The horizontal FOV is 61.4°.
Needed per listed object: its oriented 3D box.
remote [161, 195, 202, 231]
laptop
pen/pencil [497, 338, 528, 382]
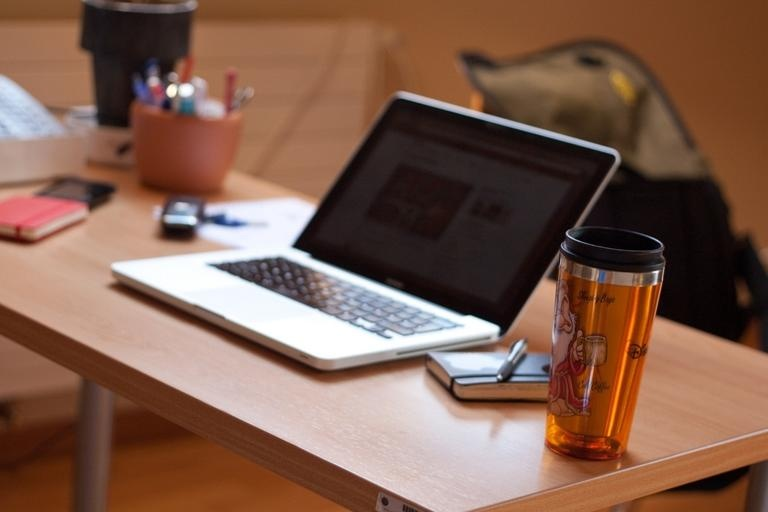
[{"bbox_3d":[-0.335,-0.075,1.081,0.062,0.035,0.104,5,20,-13],"label":"remote"},{"bbox_3d":[0.040,-0.023,0.897,0.471,0.212,0.462,-5,23,-44],"label":"laptop"},{"bbox_3d":[0.143,0.118,0.719,0.017,0.016,0.088,37,34,4],"label":"pen/pencil"}]
